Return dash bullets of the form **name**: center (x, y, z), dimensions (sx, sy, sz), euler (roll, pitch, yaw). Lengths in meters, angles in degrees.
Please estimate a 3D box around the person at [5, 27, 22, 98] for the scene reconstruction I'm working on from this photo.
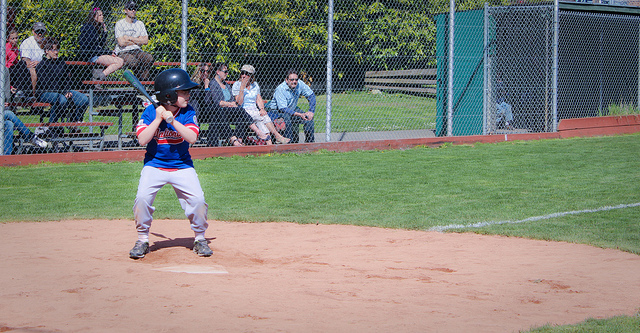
- **person**: center (-7.190, -2.433, 15.518), dimensions (0.308, 1.611, 0.538), euler (-2, 6, -22)

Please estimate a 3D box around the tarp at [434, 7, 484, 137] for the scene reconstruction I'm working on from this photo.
- **tarp**: center (3.905, -2.679, 18.733), dimensions (1.372, 3.572, 0.503), euler (-1, 6, -16)

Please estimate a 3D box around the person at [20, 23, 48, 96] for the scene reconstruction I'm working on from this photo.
- **person**: center (-6.747, -2.475, 15.590), dimensions (0.594, 1.446, 0.314), euler (-1, 6, -11)

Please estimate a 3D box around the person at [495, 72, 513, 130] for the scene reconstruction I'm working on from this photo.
- **person**: center (5.231, -1.894, 19.053), dimensions (0.493, 1.638, 0.238), euler (-3, 6, -26)

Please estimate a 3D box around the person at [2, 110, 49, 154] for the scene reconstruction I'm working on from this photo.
- **person**: center (-6.984, -0.818, 15.500), dimensions (0.871, 1.021, 0.460), euler (-2, 6, -22)
